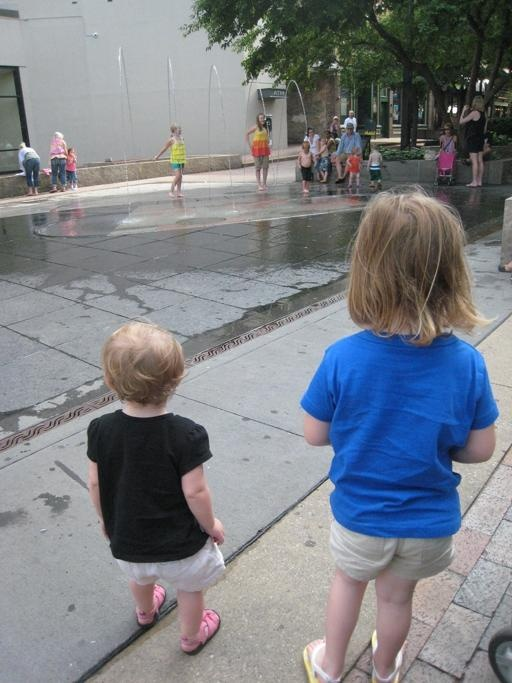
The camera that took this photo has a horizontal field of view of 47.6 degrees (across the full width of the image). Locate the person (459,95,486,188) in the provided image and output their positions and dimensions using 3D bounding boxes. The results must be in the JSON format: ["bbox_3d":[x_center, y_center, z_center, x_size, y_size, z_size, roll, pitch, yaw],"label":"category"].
[{"bbox_3d":[5.377,-4.965,14.497,0.819,2.111,0.665,-12,19,-32],"label":"person"}]

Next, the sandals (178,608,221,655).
[{"bbox_3d":[-0.179,0.918,1.885,0.093,0.074,0.192,4,21,23],"label":"sandals"}]

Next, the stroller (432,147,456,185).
[{"bbox_3d":[4.926,-4.513,15.079,0.739,1.148,0.881,1,5,14],"label":"stroller"}]

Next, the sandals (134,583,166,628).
[{"bbox_3d":[-0.348,0.909,1.984,0.080,0.076,0.189,2,23,4],"label":"sandals"}]

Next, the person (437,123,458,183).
[{"bbox_3d":[4.899,-4.778,14.918,0.490,1.453,1.689,2,20,17],"label":"person"}]

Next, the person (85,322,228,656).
[{"bbox_3d":[-0.301,0.464,1.737,0.385,1.060,0.280,-3,20,4],"label":"person"}]

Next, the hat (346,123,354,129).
[{"bbox_3d":[2.483,-5.677,15.362,0.187,0.125,0.229,-1,21,9],"label":"hat"}]
